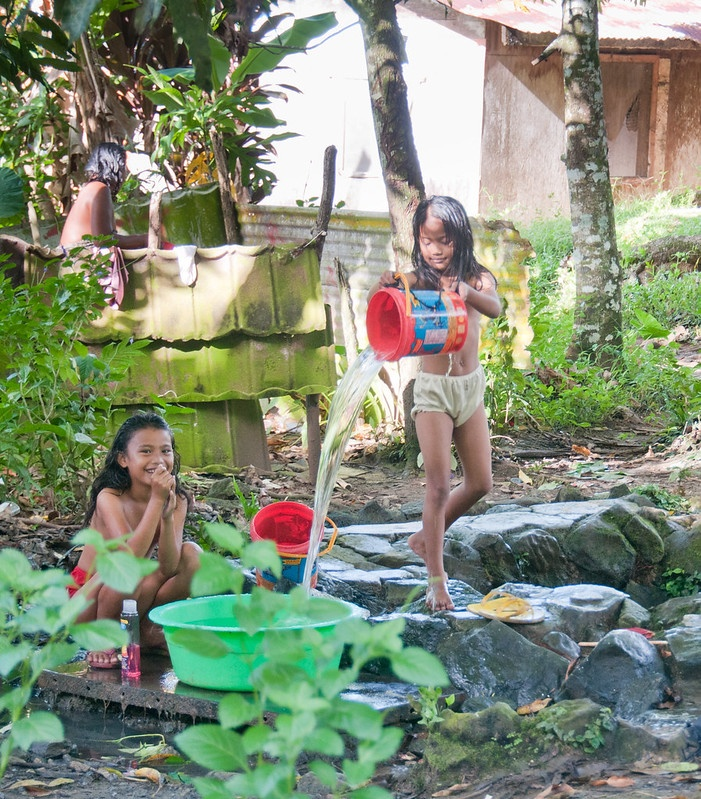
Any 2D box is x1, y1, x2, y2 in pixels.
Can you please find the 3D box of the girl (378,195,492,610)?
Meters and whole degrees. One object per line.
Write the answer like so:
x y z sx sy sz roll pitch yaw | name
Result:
0.350 -0.001 3.531 0.368 1.321 0.536 -2 1 32 | girl

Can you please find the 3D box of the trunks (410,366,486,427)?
0.385 -0.014 3.597 0.349 0.288 0.202 0 2 -32 | trunks

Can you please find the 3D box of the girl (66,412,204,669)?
-0.763 0.471 3.196 0.448 0.857 0.534 -3 1 -18 | girl

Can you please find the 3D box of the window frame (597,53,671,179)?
4.006 -3.950 12.660 0.908 1.307 0.595 -2 1 18 | window frame
